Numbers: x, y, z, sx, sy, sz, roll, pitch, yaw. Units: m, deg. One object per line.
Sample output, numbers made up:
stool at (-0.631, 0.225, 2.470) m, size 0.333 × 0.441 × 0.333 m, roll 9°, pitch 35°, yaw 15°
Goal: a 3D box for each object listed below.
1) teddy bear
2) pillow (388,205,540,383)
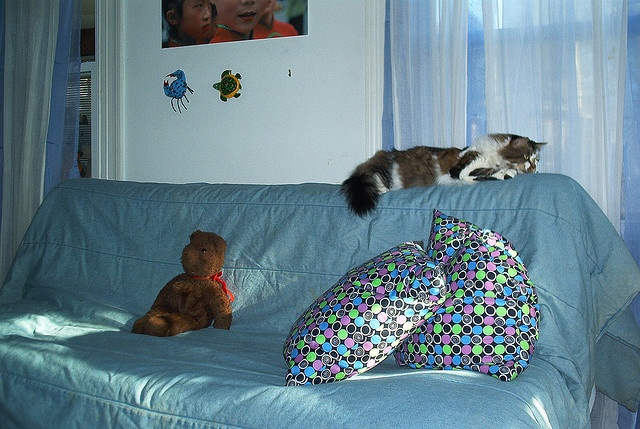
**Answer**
teddy bear at (-0.708, 0.364, 3.290) m, size 0.450 × 0.611 × 0.354 m, roll 11°, pitch -7°, yaw -8°
pillow at (0.608, 0.379, 2.612) m, size 0.525 × 0.684 × 0.182 m, roll -21°, pitch -18°, yaw 21°
